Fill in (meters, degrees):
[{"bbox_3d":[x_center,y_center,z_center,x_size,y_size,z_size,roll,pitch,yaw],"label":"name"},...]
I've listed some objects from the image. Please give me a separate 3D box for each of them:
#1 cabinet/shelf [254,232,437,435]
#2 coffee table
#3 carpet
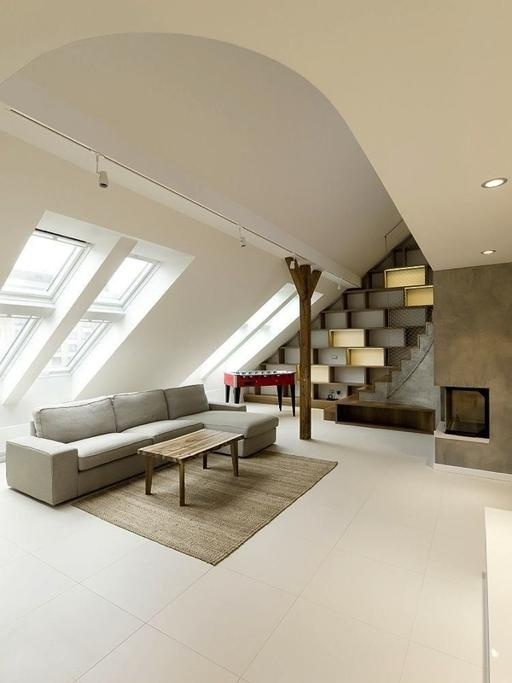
[{"bbox_3d":[1.383,-0.161,7.286,2.709,2.626,1.428,-3,-9,37],"label":"cabinet/shelf"},{"bbox_3d":[-0.593,1.097,4.038,0.408,0.348,0.773,1,6,24],"label":"coffee table"},{"bbox_3d":[-0.344,1.215,3.905,1.389,0.056,1.771,2,4,32],"label":"carpet"}]
